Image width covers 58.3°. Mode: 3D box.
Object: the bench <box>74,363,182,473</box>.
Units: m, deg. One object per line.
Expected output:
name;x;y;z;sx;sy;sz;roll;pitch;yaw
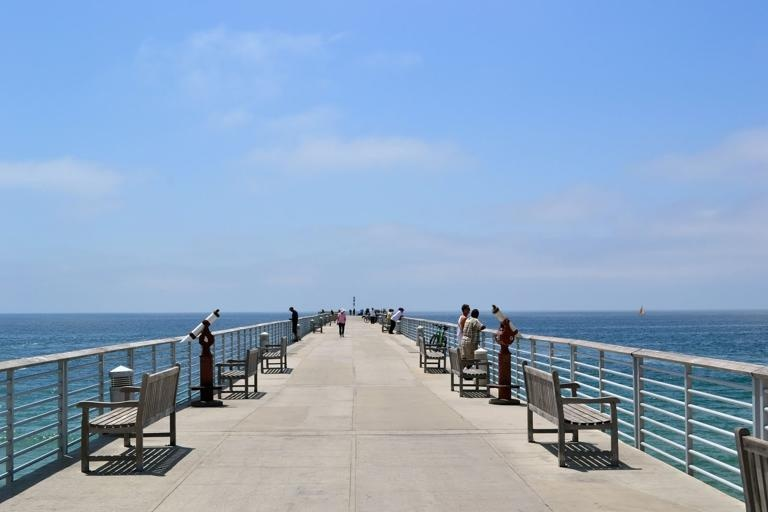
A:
bench;-3.642;2.323;9.798;1.042;1.368;1.586;-2;-5;16
